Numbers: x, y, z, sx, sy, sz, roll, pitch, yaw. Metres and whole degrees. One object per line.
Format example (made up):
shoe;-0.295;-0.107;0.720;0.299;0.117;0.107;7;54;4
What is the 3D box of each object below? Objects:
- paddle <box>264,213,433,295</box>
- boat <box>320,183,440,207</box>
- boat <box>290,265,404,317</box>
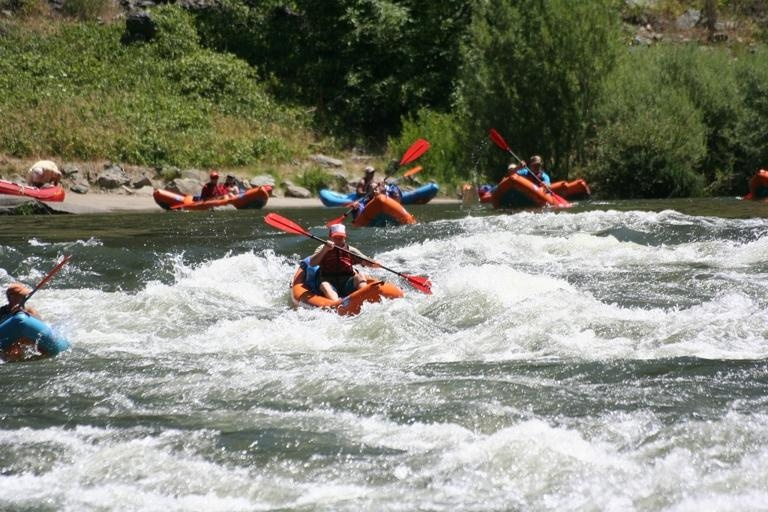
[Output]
paddle;-0.948;0.029;34.098;4.812;0.656;0.422;21;43;12
boat;-0.266;-2.090;44.211;3.227;0.504;1.545;0;0;-13
boat;-1.252;1.045;32.647;1.883;0.994;3.563;-12;16;-41
